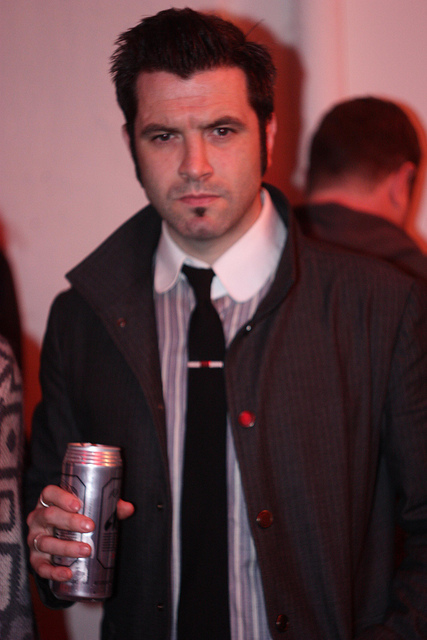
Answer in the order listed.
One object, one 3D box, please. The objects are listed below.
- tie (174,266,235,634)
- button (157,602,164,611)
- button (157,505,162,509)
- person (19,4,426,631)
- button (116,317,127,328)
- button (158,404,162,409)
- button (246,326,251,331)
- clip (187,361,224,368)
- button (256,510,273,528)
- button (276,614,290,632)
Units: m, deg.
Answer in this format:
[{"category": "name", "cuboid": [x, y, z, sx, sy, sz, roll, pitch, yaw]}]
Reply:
[{"category": "tie", "cuboid": [-0.029, 0.237, 1.310, 0.118, 0.736, 0.099, -4, -10, 0]}, {"category": "button", "cuboid": [-0.103, 0.556, 1.240, 0.014, 0.014, 0.003, 3, 4, 23]}, {"category": "button", "cuboid": [-0.106, 0.370, 1.262, 0.003, 0.007, 0.012, 6, -14, -45]}, {"category": "person", "cuboid": [-0.001, -0.017, 1.385, 0.872, 1.314, 0.361, -7, -10, 12]}, {"category": "button", "cuboid": [-0.193, 0.005, 1.352, 0.019, 0.019, 0.006, -4, -16, -3]}, {"category": "button", "cuboid": [-0.106, 0.172, 1.272, 0.006, 0.009, 0.003, 0, 0, -8]}, {"category": "button", "cuboid": [0.070, 0.016, 1.281, 0.008, 0.009, 0.002, 3, -3, -6]}, {"category": "clip", "cuboid": [-0.013, 0.091, 1.307, 0.063, 0.013, 0.012, 0, 8, 5]}, {"category": "button", "cuboid": [0.095, 0.370, 1.184, 0.028, 0.028, 0.007, 5, -10, -20]}, {"category": "button", "cuboid": [0.127, 0.552, 1.165, 0.027, 0.027, 0.006, 1, -7, -35]}]
